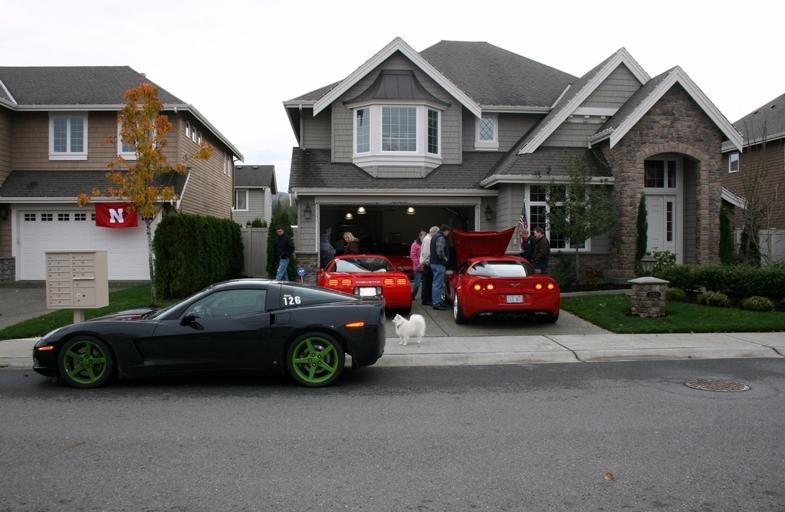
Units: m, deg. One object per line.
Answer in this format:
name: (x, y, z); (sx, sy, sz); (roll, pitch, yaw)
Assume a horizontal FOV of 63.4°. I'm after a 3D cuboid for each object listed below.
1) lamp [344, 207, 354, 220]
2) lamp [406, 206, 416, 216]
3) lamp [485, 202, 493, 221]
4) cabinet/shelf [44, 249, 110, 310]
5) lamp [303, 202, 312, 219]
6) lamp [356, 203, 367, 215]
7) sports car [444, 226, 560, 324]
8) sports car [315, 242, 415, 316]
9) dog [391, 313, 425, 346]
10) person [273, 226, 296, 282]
lamp: (-2.086, -1.938, 30.357); (0.420, 0.461, 0.430); (-1, -10, 0)
lamp: (0.793, -1.962, 28.115); (0.423, 0.253, 0.422); (0, -3, -5)
lamp: (3.518, -1.588, 23.247); (0.318, 0.625, 0.167); (1, 12, 4)
cabinet/shelf: (-6.909, 0.526, 13.905); (1.429, 1.640, 0.776); (0, -1, -16)
lamp: (-2.999, -1.552, 22.374); (0.250, 0.552, 0.198); (-2, 12, -9)
lamp: (-1.303, -2.022, 27.084); (0.537, 0.382, 0.588); (0, -5, -10)
sports car: (2.786, 0.330, 17.169); (2.020, 1.761, 4.060); (-3, -15, 23)
sports car: (-0.728, 0.599, 16.222); (1.949, 1.099, 3.286); (0, 4, -8)
dog: (0.382, 1.554, 13.600); (0.561, 0.753, 0.844); (1, 11, 5)
person: (-3.468, 0.000, 20.324); (0.539, 1.890, 1.447); (-2, 12, -10)
